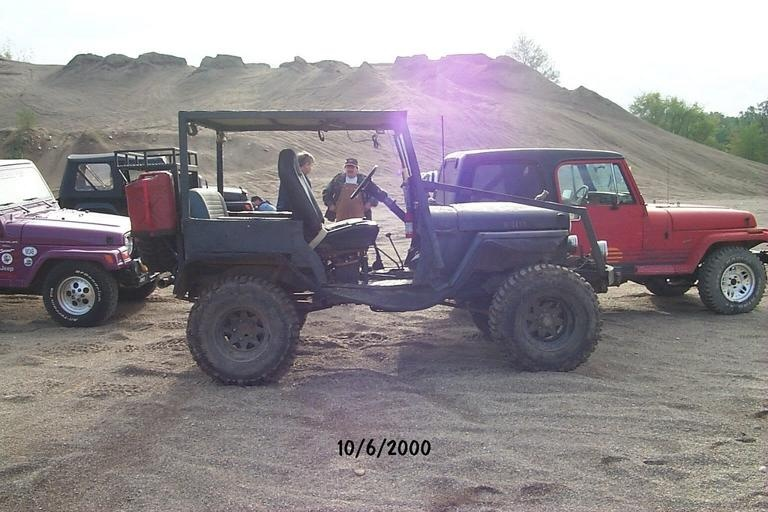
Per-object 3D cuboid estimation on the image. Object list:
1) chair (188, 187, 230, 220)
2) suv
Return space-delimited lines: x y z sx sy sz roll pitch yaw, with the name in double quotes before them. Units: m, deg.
"chair" -2.030 -0.602 7.327 0.353 0.403 0.488 13 -9 -43
"suv" -0.188 -0.307 7.990 6.611 2.381 3.120 -1 7 -6
